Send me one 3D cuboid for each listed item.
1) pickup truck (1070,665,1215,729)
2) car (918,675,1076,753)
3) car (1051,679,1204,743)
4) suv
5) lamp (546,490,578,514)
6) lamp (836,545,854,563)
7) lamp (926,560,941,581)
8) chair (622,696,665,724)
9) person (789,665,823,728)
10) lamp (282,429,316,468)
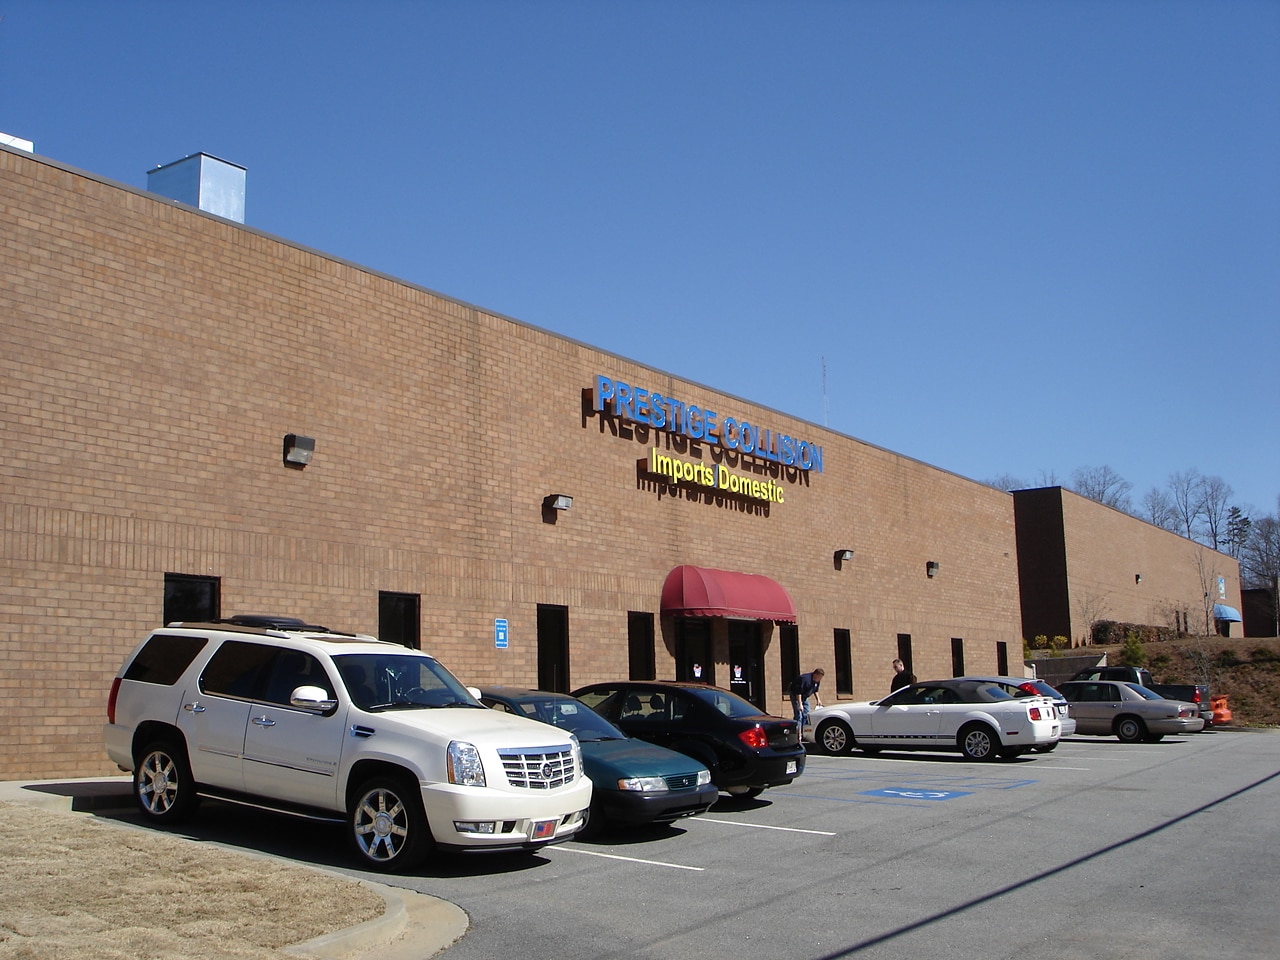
[{"bbox_3d":[12.747,5.724,30.493,3.221,0.977,1.475,-1,-5,34],"label":"pickup truck"},{"bbox_3d":[7.155,4.705,24.317,2.592,0.900,1.465,-6,-8,30],"label":"car"},{"bbox_3d":[12.492,5.863,30.611,3.398,0.964,1.536,-1,-6,31],"label":"car"},{"bbox_3d":[-3.266,2.956,14.006,4.795,2.062,2.570,-3,-8,28],"label":"suv"},{"bbox_3d":[-1.712,0.430,25.881,0.350,0.505,0.922,-5,-12,27],"label":"lamp"},{"bbox_3d":[6.217,2.172,35.963,0.251,0.499,1.212,-5,-12,26],"label":"lamp"},{"bbox_3d":[10.104,3.030,41.158,0.510,0.715,0.737,-1,-1,18],"label":"lamp"},{"bbox_3d":[0.079,3.390,17.785,0.426,0.421,0.436,1,-10,0],"label":"chair"},{"bbox_3d":[4.035,5.248,29.108,0.979,0.844,2.175,12,-28,7],"label":"person"},{"bbox_3d":[-6.065,-0.583,21.087,0.283,0.586,0.605,-6,-10,27],"label":"lamp"}]
